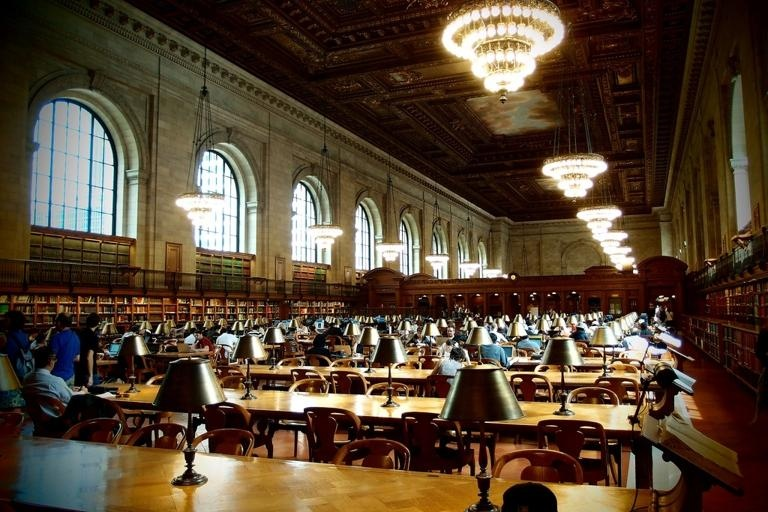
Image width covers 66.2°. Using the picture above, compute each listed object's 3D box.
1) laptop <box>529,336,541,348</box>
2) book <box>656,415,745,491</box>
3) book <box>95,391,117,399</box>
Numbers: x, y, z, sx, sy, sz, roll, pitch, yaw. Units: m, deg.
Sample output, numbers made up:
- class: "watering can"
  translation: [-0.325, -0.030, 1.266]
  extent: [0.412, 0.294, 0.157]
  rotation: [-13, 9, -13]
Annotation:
- class: "laptop"
  translation: [3.180, 1.830, 12.448]
  extent: [0.261, 0.186, 0.396]
  rotation: [-4, -4, 41]
- class: "book"
  translation: [1.976, 1.237, 3.697]
  extent: [0.429, 0.406, 0.460]
  rotation: [-5, -9, 26]
- class: "book"
  translation: [-3.234, 1.620, 6.828]
  extent: [0.202, 0.060, 0.224]
  rotation: [2, -4, 29]
